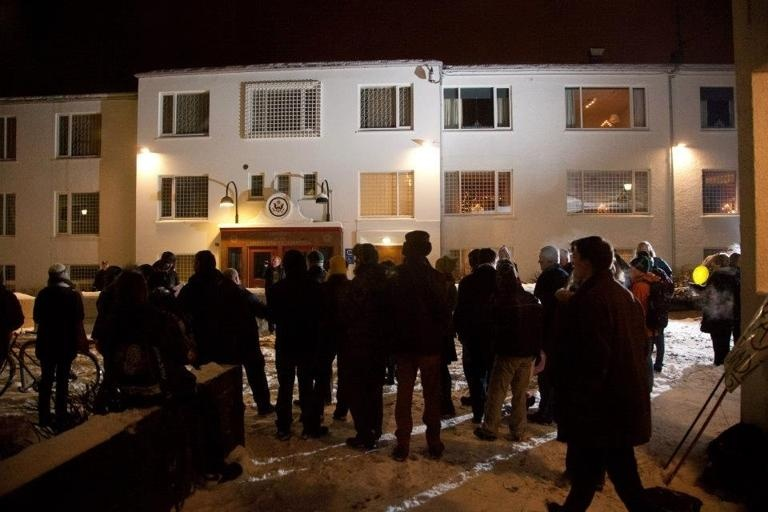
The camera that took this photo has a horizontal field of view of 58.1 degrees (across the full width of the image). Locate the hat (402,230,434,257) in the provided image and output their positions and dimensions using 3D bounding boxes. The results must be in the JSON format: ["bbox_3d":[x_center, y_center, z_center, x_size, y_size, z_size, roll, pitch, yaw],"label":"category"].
[{"bbox_3d":[0.591,-0.189,12.172,0.426,0.413,0.448,-2,-5,29],"label":"hat"}]

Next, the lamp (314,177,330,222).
[{"bbox_3d":[-1.923,-1.782,22.745,0.362,1.396,0.812,-1,-3,16],"label":"lamp"}]

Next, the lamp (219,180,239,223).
[{"bbox_3d":[-5.094,-1.808,22.973,0.630,1.457,1.325,-1,2,-16],"label":"lamp"}]

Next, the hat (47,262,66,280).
[{"bbox_3d":[-6.250,0.270,13.270,0.268,0.327,0.327,17,9,15],"label":"hat"}]
